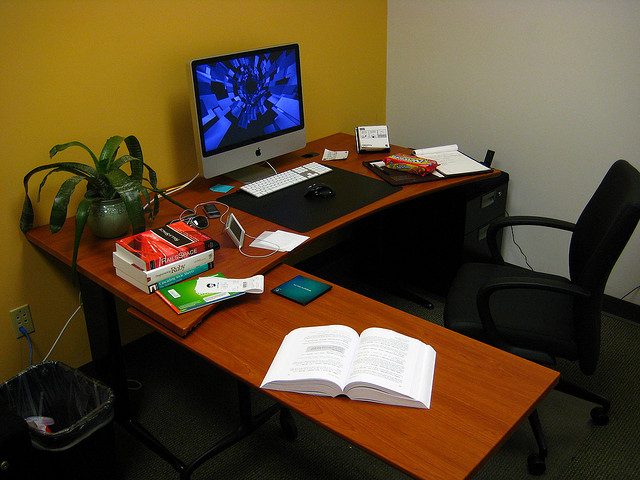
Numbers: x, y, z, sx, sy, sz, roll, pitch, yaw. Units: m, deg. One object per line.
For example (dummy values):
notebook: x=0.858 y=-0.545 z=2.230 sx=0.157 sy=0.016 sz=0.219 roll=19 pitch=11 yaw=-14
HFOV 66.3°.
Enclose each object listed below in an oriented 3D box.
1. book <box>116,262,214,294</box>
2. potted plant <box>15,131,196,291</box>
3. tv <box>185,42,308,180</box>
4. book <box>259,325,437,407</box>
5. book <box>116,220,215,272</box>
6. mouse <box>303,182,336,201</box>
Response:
book: x=-0.577 y=0.145 z=1.924 sx=0.168 sy=0.034 sz=0.175 roll=-20 pitch=32 yaw=-38
potted plant: x=-0.977 y=-0.106 z=2.268 sx=0.832 sy=0.459 sz=0.646 roll=8 pitch=23 yaw=5
tv: x=-0.414 y=-0.686 z=2.604 sx=0.672 sy=0.569 sz=0.133 roll=-24 pitch=34 yaw=-37
book: x=0.102 y=0.389 z=1.586 sx=0.545 sy=0.082 sz=0.267 roll=3 pitch=29 yaw=9
book: x=-0.623 y=0.012 z=1.941 sx=0.188 sy=0.052 sz=0.274 roll=25 pitch=32 yaw=28
mouse: x=-0.010 y=-0.251 z=2.502 sx=0.116 sy=0.033 sz=0.088 roll=10 pitch=42 yaw=20
